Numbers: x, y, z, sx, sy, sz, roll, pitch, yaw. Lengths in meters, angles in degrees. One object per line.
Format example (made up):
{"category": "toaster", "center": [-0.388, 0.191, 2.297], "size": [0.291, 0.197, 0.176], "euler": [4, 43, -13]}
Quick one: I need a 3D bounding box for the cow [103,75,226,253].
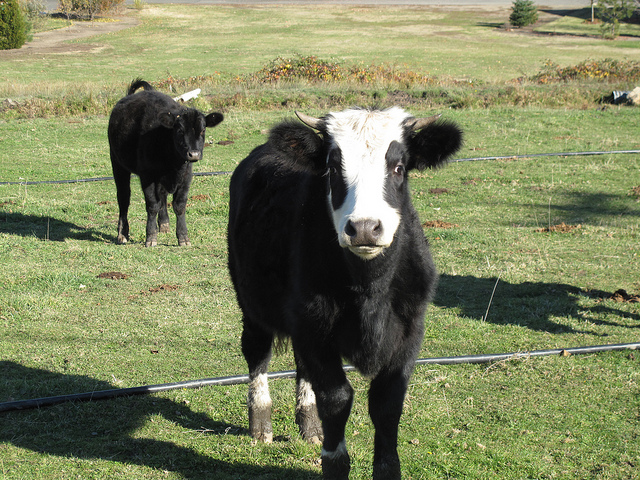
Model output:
{"category": "cow", "center": [-4.163, -2.080, 22.728], "size": [2.372, 3.689, 4.653], "euler": [-1, 14, -12]}
